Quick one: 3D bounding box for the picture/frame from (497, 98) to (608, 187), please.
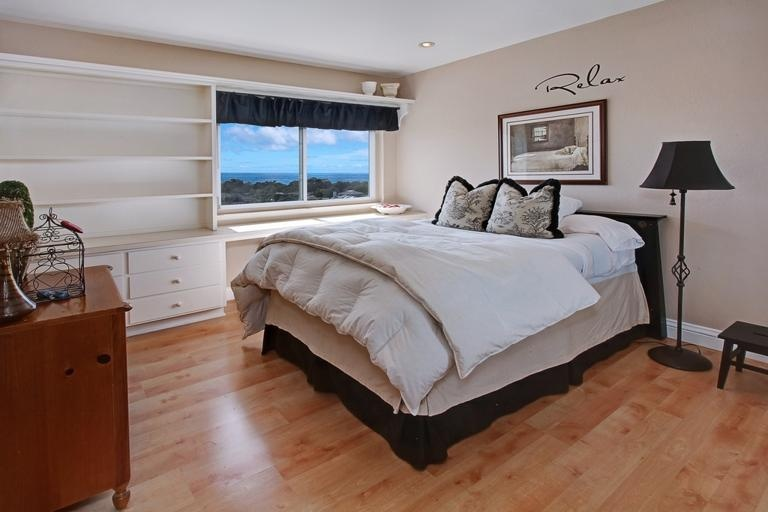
[{"bbox_3d":[1.718,-1.137,4.693,1.115,0.750,0.042,2,5,43],"label":"picture/frame"}]

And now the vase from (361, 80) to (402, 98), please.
[{"bbox_3d":[-0.057,-2.070,5.823,0.325,0.118,0.291,6,14,17],"label":"vase"}]

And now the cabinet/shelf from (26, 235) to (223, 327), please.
[{"bbox_3d":[-2.115,0.269,4.634,0.393,0.782,1.071,7,11,34],"label":"cabinet/shelf"}]

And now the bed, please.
[{"bbox_3d":[0.877,0.676,3.737,2.474,0.966,2.016,-2,4,-34],"label":"bed"}]
